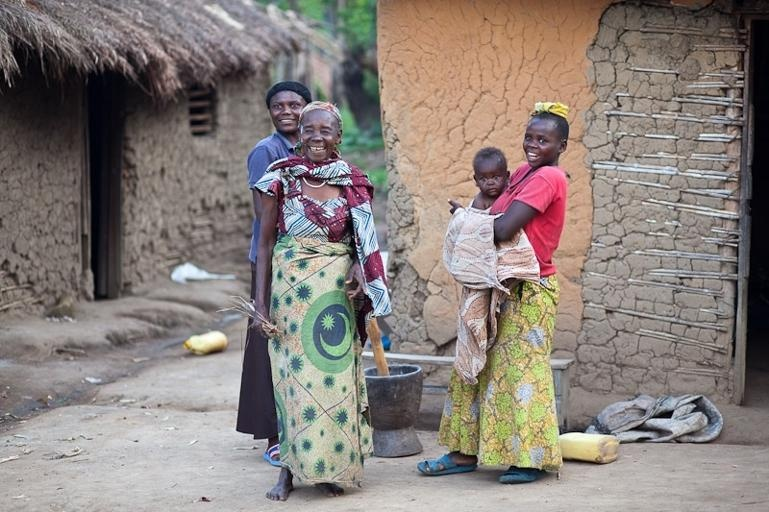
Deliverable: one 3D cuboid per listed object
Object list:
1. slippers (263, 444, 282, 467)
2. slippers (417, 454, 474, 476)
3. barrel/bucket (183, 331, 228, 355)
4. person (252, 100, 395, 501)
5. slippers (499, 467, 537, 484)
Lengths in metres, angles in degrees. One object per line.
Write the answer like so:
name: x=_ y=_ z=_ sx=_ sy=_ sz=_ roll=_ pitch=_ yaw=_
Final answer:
slippers: x=-0.888 y=1.599 z=8.397 sx=0.115 sy=0.109 sz=0.262 roll=0 pitch=-5 yaw=-24
slippers: x=0.472 y=1.641 z=8.205 sx=0.425 sy=0.128 sz=0.168 roll=2 pitch=-1 yaw=-12
barrel/bucket: x=-1.942 y=0.926 z=11.485 sx=0.434 sy=0.206 sz=0.208 roll=-4 pitch=36 yaw=-31
person: x=-0.477 y=0.331 z=7.802 sx=0.955 sy=2.965 sz=0.310 roll=0 pitch=0 yaw=-11
slippers: x=1.016 y=1.666 z=7.968 sx=0.226 sy=0.087 sz=0.129 roll=-4 pitch=2 yaw=-20
